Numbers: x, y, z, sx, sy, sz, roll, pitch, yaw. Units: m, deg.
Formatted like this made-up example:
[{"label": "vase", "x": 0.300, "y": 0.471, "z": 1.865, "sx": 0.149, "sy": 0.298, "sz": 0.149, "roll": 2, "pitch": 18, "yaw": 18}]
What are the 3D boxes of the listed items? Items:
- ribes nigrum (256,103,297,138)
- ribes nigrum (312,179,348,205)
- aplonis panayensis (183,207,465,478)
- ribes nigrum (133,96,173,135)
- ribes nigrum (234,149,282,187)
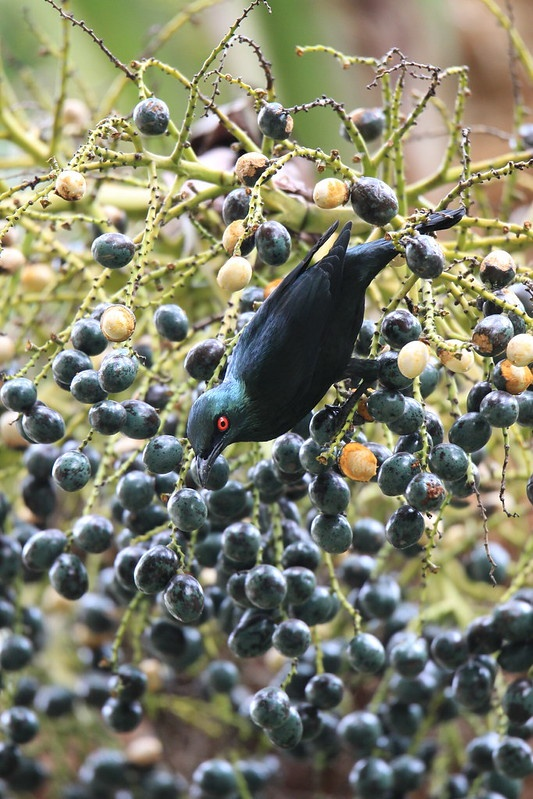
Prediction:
[{"label": "ribes nigrum", "x": 0.005, "y": -0.224, "z": 0.812, "sx": 0.025, "sy": 0.031, "sz": 0.024, "roll": -25, "pitch": 32, "yaw": -30}, {"label": "ribes nigrum", "x": 0.049, "y": -0.156, "z": 0.780, "sx": 0.027, "sy": 0.018, "sz": 0.018, "roll": -12, "pitch": 42, "yaw": -4}, {"label": "aplonis panayensis", "x": 0.040, "y": -0.061, "z": 0.790, "sx": 0.121, "sy": 0.265, "sz": 0.076, "roll": 28, "pitch": -2, "yaw": -33}, {"label": "ribes nigrum", "x": -0.090, "y": -0.225, "z": 0.803, "sx": 0.033, "sy": 0.034, "sz": 0.031, "roll": 3, "pitch": 1, "yaw": 15}, {"label": "ribes nigrum", "x": -0.007, "y": -0.182, "z": 0.804, "sx": 0.035, "sy": 0.026, "sz": 0.025, "roll": -5, "pitch": 41, "yaw": 0}]
